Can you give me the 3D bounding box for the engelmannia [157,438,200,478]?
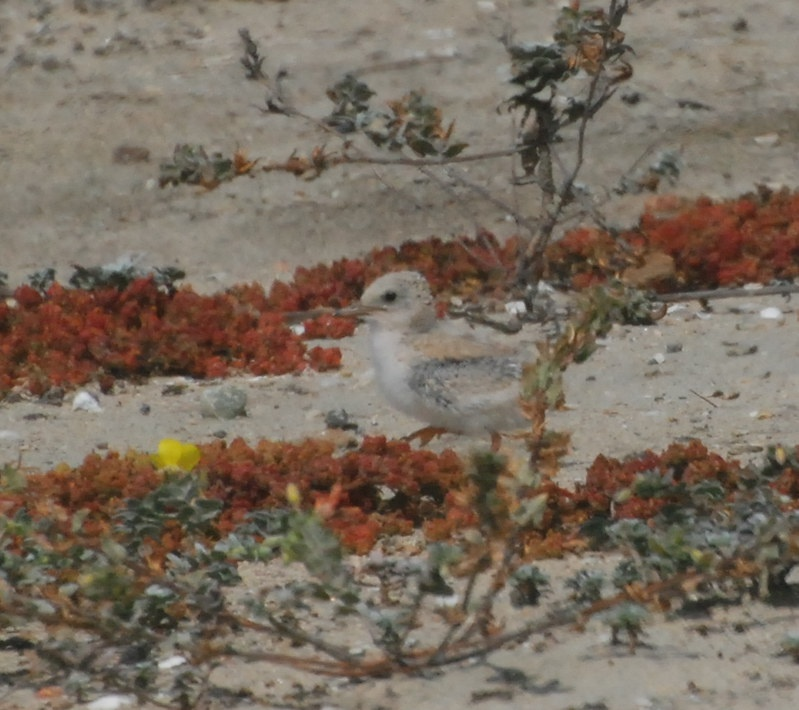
[{"bbox_3d":[-2.443,1.118,23.692,0.529,0.234,0.295,-11,91,5],"label":"engelmannia"}]
